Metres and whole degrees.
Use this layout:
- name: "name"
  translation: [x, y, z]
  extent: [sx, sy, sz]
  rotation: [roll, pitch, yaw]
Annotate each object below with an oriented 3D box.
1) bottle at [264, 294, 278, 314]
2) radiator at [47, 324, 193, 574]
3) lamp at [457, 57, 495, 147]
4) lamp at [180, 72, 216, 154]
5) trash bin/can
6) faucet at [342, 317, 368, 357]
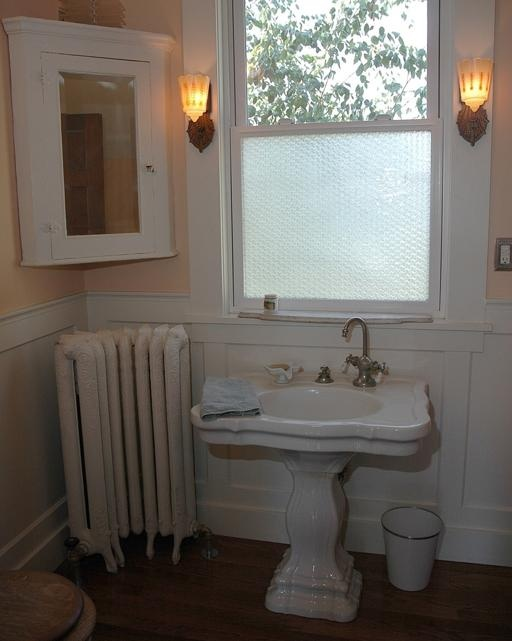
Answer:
- name: "bottle"
  translation: [0.056, -0.066, 2.203]
  extent: [0.057, 0.069, 0.060]
  rotation: [1, 2, 1]
- name: "radiator"
  translation: [-0.462, 0.453, 2.182]
  extent: [0.507, 0.916, 0.214]
  rotation: [-4, 14, -17]
- name: "lamp"
  translation: [0.727, -0.727, 1.899]
  extent: [0.099, 0.266, 0.084]
  rotation: [2, 8, 20]
- name: "lamp"
  translation: [-0.226, -0.769, 2.118]
  extent: [0.125, 0.268, 0.121]
  rotation: [0, 8, 7]
- name: "trash bin/can"
  translation: [0.524, 0.788, 2.042]
  extent: [0.228, 0.260, 0.241]
  rotation: [0, 6, -2]
- name: "faucet"
  translation: [0.353, 0.063, 1.984]
  extent: [0.076, 0.164, 0.320]
  rotation: [1, 8, 12]
